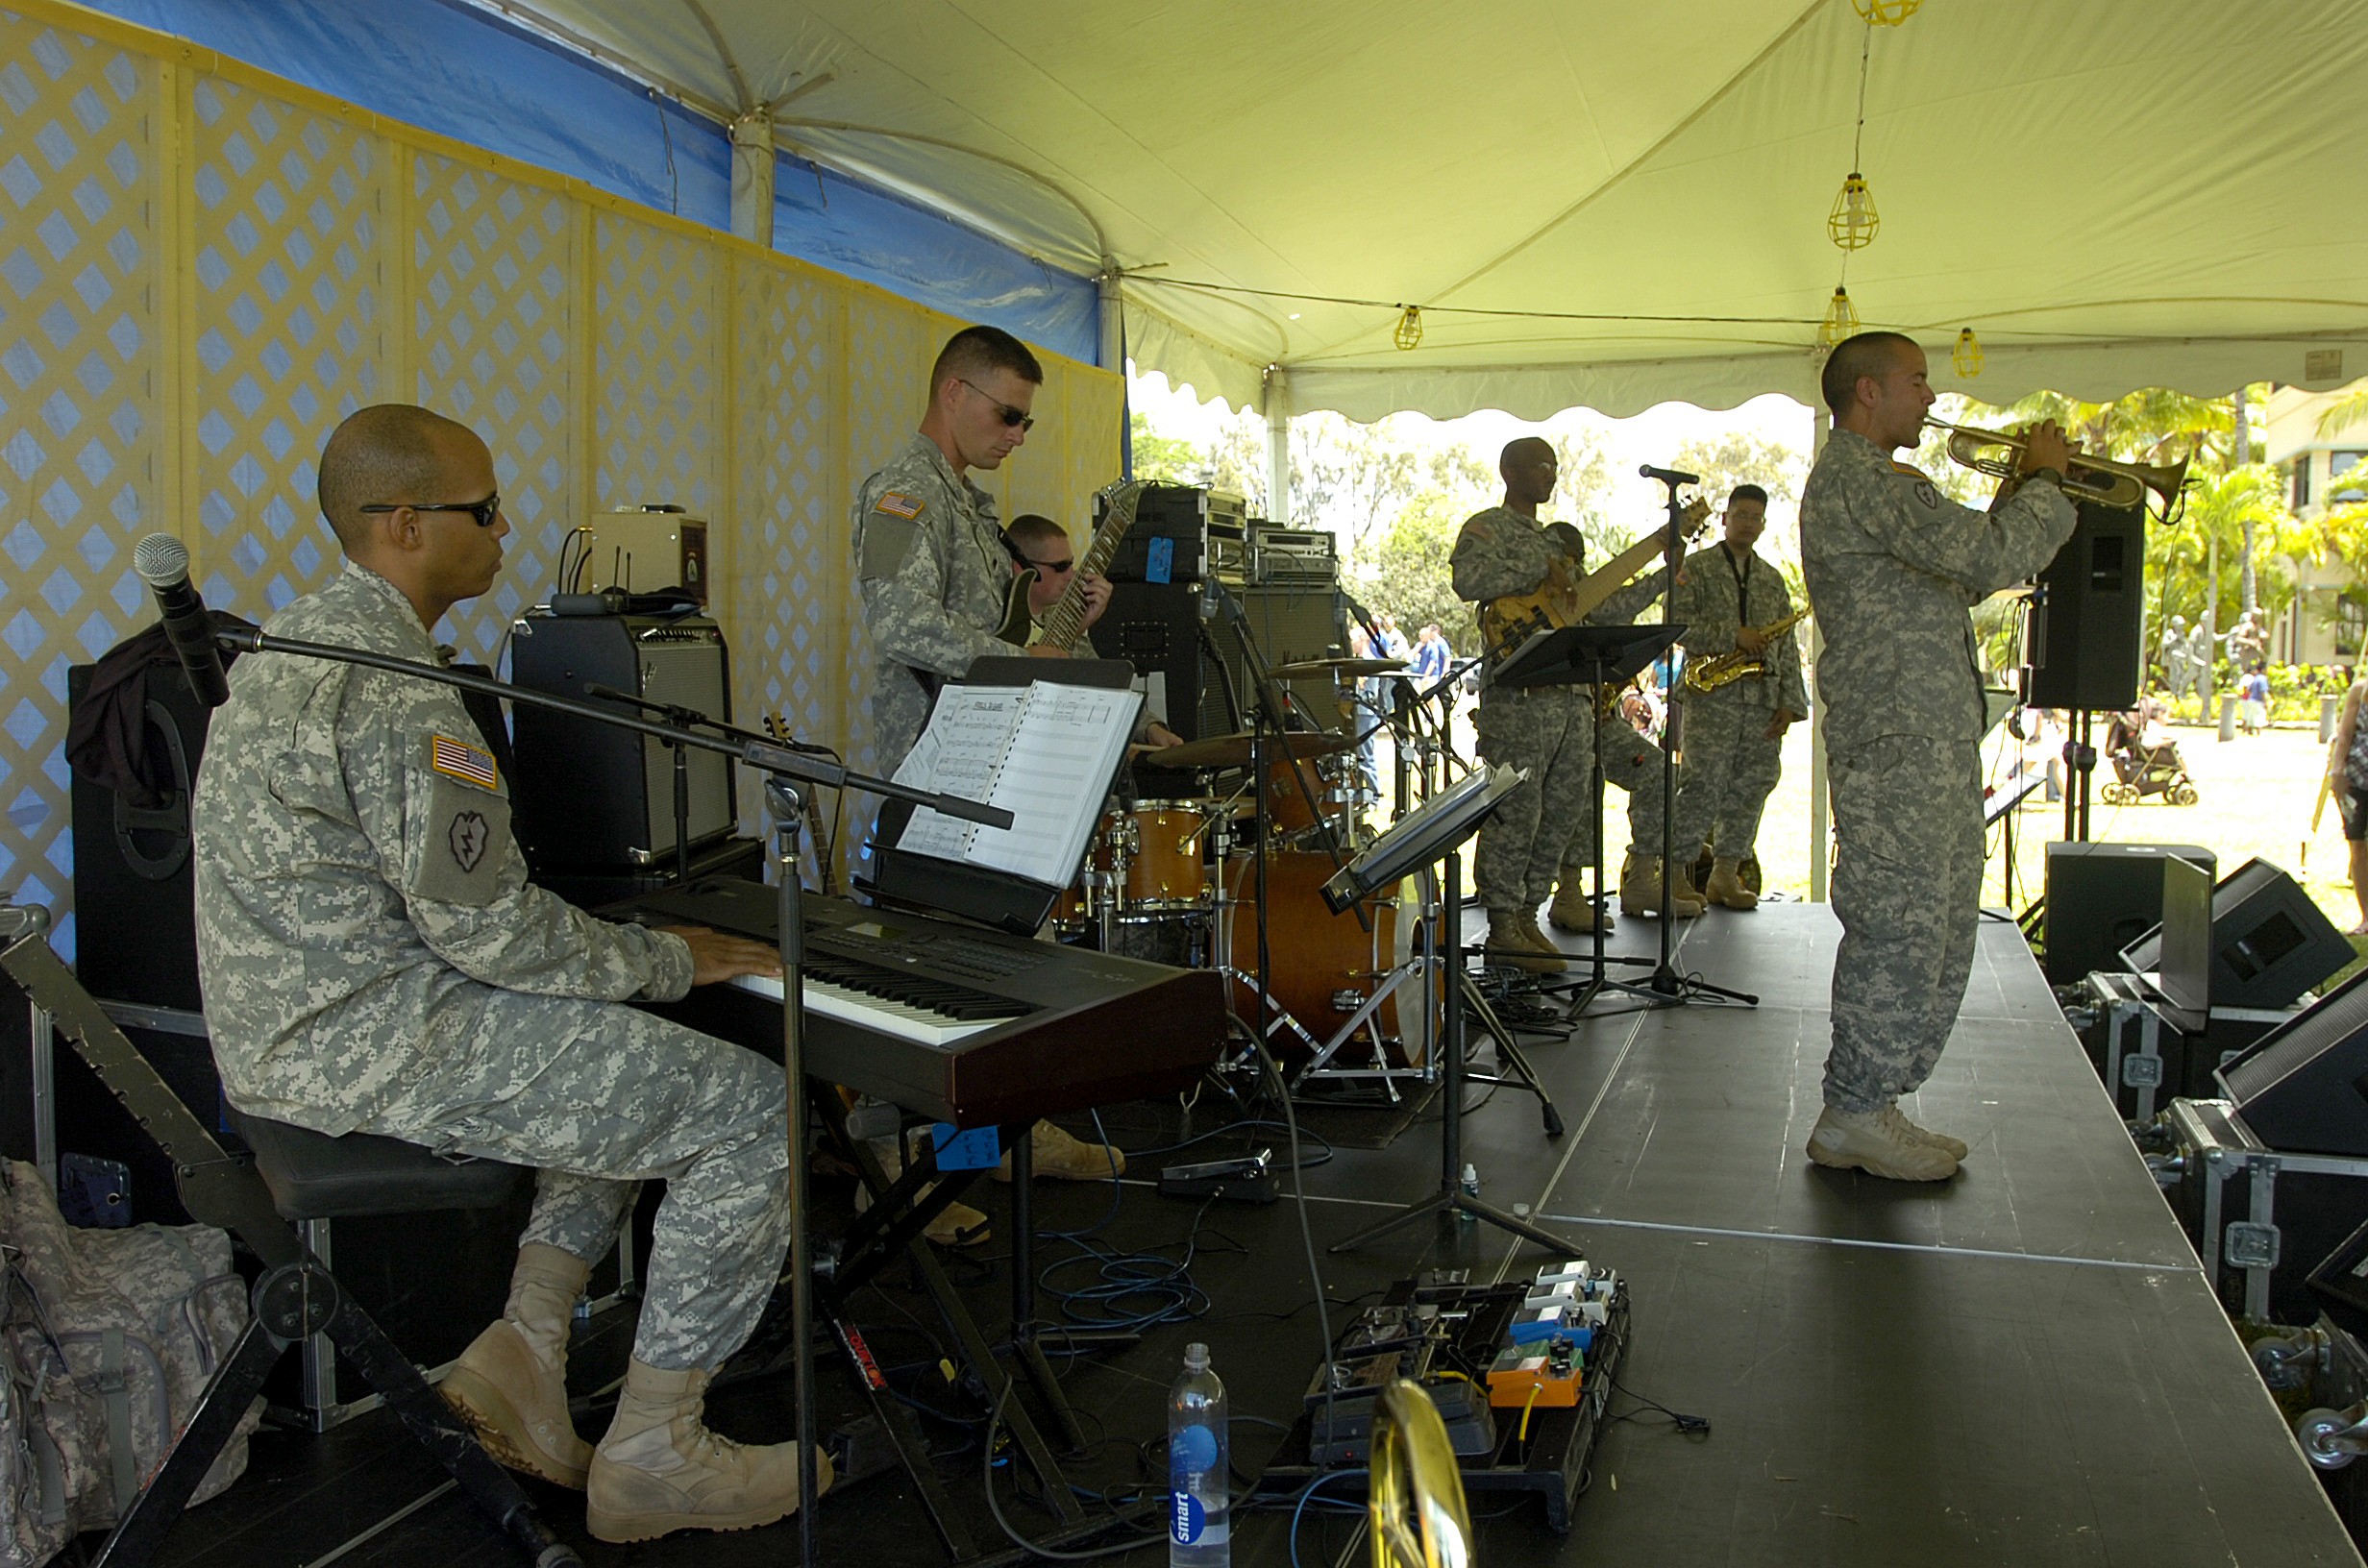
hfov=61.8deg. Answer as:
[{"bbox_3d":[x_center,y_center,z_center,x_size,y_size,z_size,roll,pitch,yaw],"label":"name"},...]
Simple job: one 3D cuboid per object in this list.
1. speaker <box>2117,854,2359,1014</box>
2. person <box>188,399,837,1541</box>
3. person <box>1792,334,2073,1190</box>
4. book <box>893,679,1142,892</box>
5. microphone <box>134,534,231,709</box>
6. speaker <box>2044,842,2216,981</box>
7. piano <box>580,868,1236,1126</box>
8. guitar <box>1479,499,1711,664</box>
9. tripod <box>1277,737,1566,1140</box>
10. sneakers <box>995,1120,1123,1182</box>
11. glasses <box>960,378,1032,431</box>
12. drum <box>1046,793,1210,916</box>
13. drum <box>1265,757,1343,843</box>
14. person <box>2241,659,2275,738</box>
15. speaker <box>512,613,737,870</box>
[{"bbox_3d":[3.570,0.461,6.664,0.532,0.483,0.556,6,6,15],"label":"speaker"},{"bbox_3d":[-1.436,0.407,4.148,1.161,2.368,0.514,-3,10,-10],"label":"person"},{"bbox_3d":[2.063,-0.070,5.548,0.672,2.359,0.513,2,10,16],"label":"person"},{"bbox_3d":[-0.304,-0.021,4.191,0.510,0.460,0.139,8,-17,37],"label":"book"},{"bbox_3d":[-1.758,-0.294,3.580,0.120,0.140,0.432,-22,-19,-19],"label":"microphone"},{"bbox_3d":[3.491,0.469,7.262,0.560,0.489,0.283,0,1,5],"label":"speaker"},{"bbox_3d":[-0.443,0.498,4.045,0.907,0.302,0.566,4,11,28],"label":"piano"},{"bbox_3d":[1.568,-0.763,7.758,0.978,0.403,0.124,-30,20,-21],"label":"guitar"},{"bbox_3d":[0.770,0.533,6.431,1.025,1.279,1.069,8,8,10],"label":"tripod"},{"bbox_3d":[-0.306,1.061,5.755,0.453,0.166,0.222,0,-3,-1],"label":"sneakers"},{"bbox_3d":[-0.459,-1.001,5.280,0.137,0.162,0.238,5,11,30],"label":"glasses"},{"bbox_3d":[-0.151,0.212,6.153,0.357,0.271,0.384,0,-3,0],"label":"drum"},{"bbox_3d":[0.417,0.037,7.064,0.283,0.249,0.477,-8,5,1],"label":"drum"},{"bbox_3d":[13.441,-1.049,24.772,0.243,0.830,1.336,5,11,32],"label":"person"},{"bbox_3d":[-1.432,-0.100,4.987,0.422,0.699,0.717,1,0,10],"label":"speaker"}]
